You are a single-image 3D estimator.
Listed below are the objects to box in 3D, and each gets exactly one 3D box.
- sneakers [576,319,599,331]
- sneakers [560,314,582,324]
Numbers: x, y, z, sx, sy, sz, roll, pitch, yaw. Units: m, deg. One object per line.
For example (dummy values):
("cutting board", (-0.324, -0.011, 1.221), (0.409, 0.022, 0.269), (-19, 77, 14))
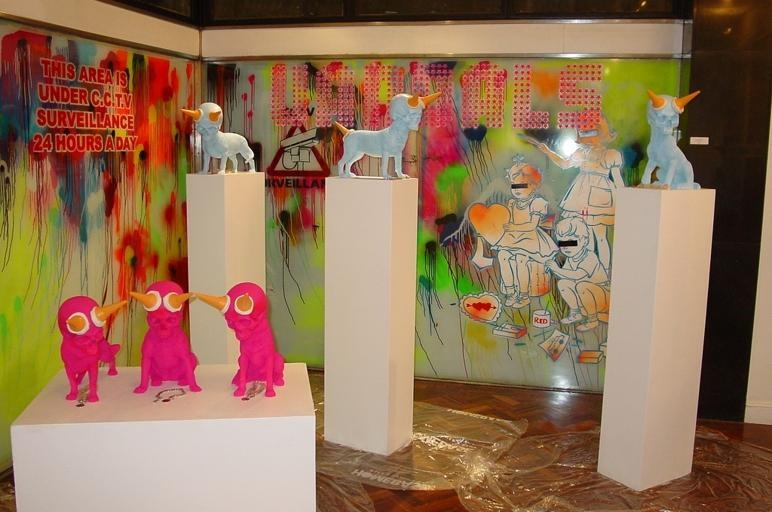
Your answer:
("sneakers", (1.610, 0.551, 4.722), (0.171, 0.076, 0.071), (-7, -14, 15))
("sneakers", (1.493, 0.493, 4.777), (0.144, 0.114, 0.069), (4, 7, 3))
